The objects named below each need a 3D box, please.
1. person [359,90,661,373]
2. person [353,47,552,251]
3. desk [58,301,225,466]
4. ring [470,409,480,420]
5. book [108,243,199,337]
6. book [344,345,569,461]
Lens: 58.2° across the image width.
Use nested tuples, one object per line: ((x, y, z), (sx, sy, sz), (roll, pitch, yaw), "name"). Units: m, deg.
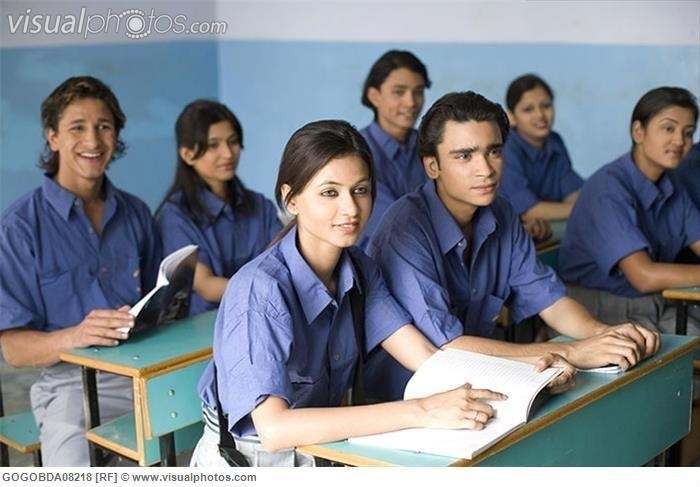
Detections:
((0.473, -0.029, 2.214), (0.737, 0.916, 1.077), (-5, 12, -28), "person")
((0.636, -0.690, 4.366), (1.157, 1.638, 0.919), (-11, 13, -31), "person")
((-0.722, 0.472, 2.430), (0.429, 0.534, 0.764), (3, 7, 26), "desk")
((0.319, 0.441, 1.611), (0.018, 0.024, 0.008), (1, -8, -5), "ring")
((-0.753, 0.145, 2.374), (0.129, 0.330, 0.317), (34, 35, 22), "book")
((0.323, 0.423, 1.696), (0.284, 0.078, 0.344), (2, 8, 33), "book")
